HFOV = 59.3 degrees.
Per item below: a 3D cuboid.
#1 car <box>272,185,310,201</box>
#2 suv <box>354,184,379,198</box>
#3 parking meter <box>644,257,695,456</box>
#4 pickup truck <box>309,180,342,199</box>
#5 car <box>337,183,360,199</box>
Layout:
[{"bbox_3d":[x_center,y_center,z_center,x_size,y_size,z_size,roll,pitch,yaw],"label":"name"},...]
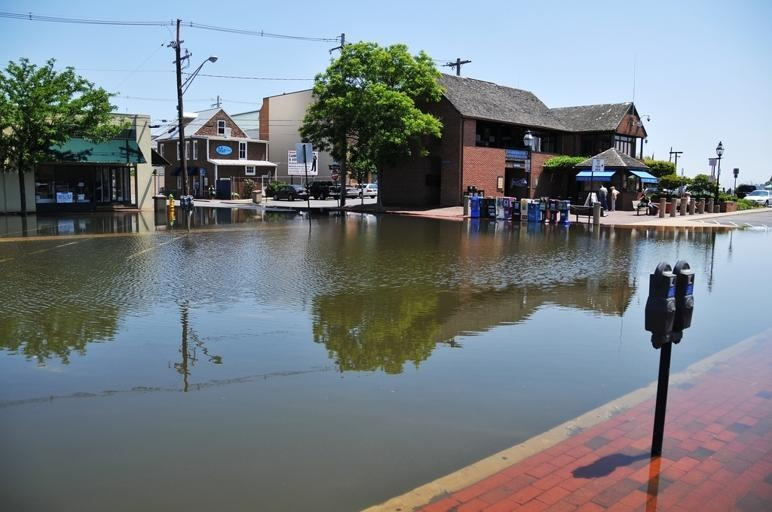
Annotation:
[{"bbox_3d":[-8.686,-5.771,62.102,3.424,1.391,1.099,6,6,42],"label":"car"},{"bbox_3d":[-1.731,-6.390,66.912,1.790,1.156,3.030,-4,14,-23],"label":"suv"},{"bbox_3d":[3.164,1.135,7.660,0.472,2.135,0.610,3,5,23],"label":"parking meter"},{"bbox_3d":[-5.637,-5.873,62.954,2.218,1.323,3.758,-4,11,-31],"label":"pickup truck"},{"bbox_3d":[-3.162,-6.063,63.479,1.390,0.958,3.000,-2,9,-10],"label":"car"}]
